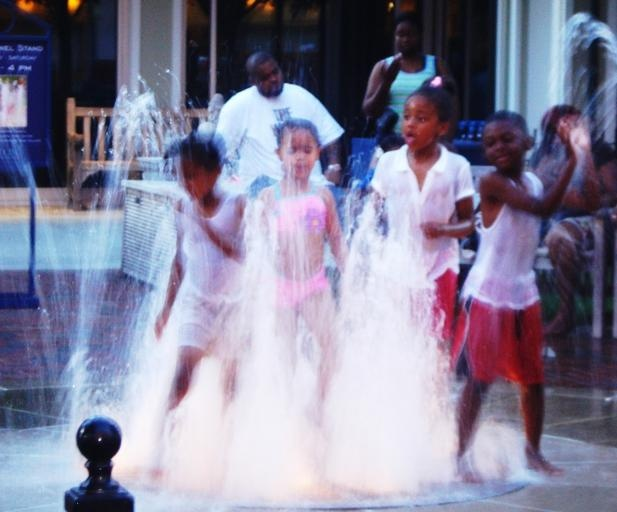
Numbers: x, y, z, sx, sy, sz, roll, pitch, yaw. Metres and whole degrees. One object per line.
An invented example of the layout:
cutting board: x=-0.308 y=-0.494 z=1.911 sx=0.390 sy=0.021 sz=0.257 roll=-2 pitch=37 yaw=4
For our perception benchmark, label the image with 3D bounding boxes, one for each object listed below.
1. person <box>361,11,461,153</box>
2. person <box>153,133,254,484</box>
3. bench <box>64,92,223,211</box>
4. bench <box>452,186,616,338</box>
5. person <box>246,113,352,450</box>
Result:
person: x=0.733 y=-0.959 z=7.556 sx=0.505 sy=1.380 sz=0.617 roll=-5 pitch=7 yaw=-1
person: x=-0.493 y=0.055 z=5.005 sx=0.489 sy=1.219 sz=0.229 roll=-8 pitch=9 yaw=-10
bench: x=-2.149 y=-1.260 z=14.291 sx=2.023 sy=1.343 sz=0.760 roll=-3 pitch=0 yaw=-23
bench: x=1.745 y=0.100 z=8.834 sx=1.161 sy=1.725 sz=0.953 roll=0 pitch=-1 yaw=-8
person: x=-0.015 y=0.076 z=5.077 sx=0.317 sy=1.404 sz=0.310 roll=-14 pitch=12 yaw=-39
